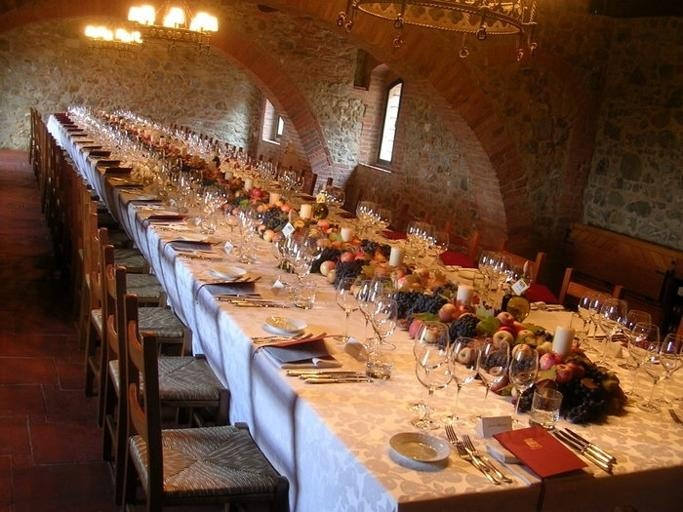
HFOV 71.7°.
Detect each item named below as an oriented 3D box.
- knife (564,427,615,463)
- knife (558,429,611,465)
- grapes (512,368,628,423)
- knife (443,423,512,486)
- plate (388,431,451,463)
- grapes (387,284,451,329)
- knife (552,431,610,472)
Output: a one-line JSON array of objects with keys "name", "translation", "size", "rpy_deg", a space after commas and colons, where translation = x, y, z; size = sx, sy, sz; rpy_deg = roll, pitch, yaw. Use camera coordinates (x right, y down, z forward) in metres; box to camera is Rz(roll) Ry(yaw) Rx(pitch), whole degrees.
[{"name": "knife", "translation": [0.836, 0.637, 1.605], "size": [0.039, 0.022, 0.207], "rpy_deg": [4, 9, -15]}, {"name": "knife", "translation": [0.829, 0.633, 1.587], "size": [0.039, 0.016, 0.170], "rpy_deg": [6, 7, -13]}, {"name": "grapes", "translation": [0.946, 0.530, 1.830], "size": [0.297, 0.118, 0.219], "rpy_deg": [-11, 19, -22]}, {"name": "knife", "translation": [0.408, 0.578, 1.422], "size": [0.055, 0.041, 0.290], "rpy_deg": [4, 14, -16]}, {"name": "plate", "translation": [0.232, 0.572, 1.404], "size": [0.174, 0.027, 0.120], "rpy_deg": [4, 15, -6]}, {"name": "grapes", "translation": [0.382, 0.244, 2.345], "size": [0.210, 0.101, 0.218], "rpy_deg": [-7, 15, -15]}, {"name": "knife", "translation": [0.802, 0.635, 1.556], "size": [0.044, 0.022, 0.199], "rpy_deg": [9, 2, -7]}]
